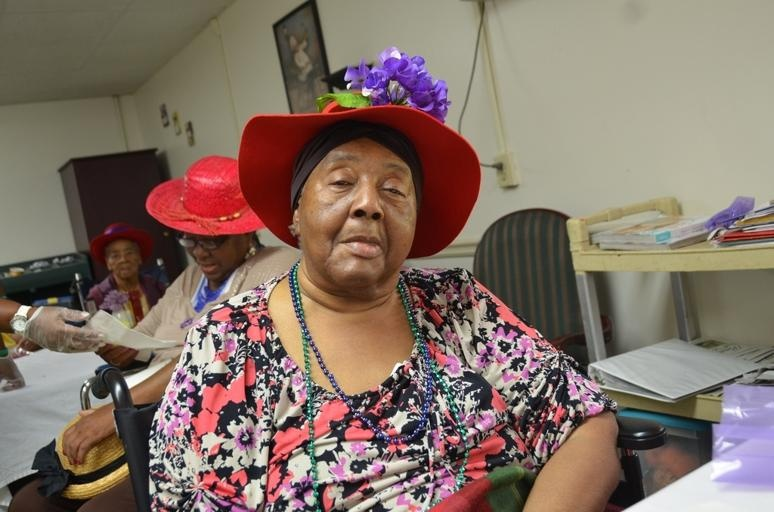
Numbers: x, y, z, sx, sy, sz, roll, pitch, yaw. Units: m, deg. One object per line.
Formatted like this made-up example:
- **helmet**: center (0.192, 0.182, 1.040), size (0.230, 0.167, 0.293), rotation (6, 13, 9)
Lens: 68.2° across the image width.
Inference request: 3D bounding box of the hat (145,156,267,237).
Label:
- **hat**: center (-0.852, -0.255, 2.739), size (0.514, 0.178, 0.548), rotation (13, 19, 27)

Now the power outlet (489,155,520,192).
- **power outlet**: center (0.659, -0.454, 3.152), size (0.110, 0.195, 0.192), rotation (-13, 4, -16)

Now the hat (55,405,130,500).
- **hat**: center (-1.064, 0.748, 2.099), size (0.262, 0.286, 0.101), rotation (37, -7, 27)

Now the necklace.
- **necklace**: center (0.003, 0.394, 1.783), size (0.373, 0.754, 0.128), rotation (-6, -18, -11)

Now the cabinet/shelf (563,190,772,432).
- **cabinet/shelf**: center (1.226, 0.166, 2.589), size (0.998, 1.020, 0.824), rotation (-10, -10, 44)

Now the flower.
- **flower**: center (0.012, -0.508, 1.798), size (0.325, 0.238, 0.181), rotation (3, -21, 3)

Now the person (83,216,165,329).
- **person**: center (-1.864, 0.215, 4.176), size (0.613, 0.836, 0.522), rotation (-2, -12, -39)
